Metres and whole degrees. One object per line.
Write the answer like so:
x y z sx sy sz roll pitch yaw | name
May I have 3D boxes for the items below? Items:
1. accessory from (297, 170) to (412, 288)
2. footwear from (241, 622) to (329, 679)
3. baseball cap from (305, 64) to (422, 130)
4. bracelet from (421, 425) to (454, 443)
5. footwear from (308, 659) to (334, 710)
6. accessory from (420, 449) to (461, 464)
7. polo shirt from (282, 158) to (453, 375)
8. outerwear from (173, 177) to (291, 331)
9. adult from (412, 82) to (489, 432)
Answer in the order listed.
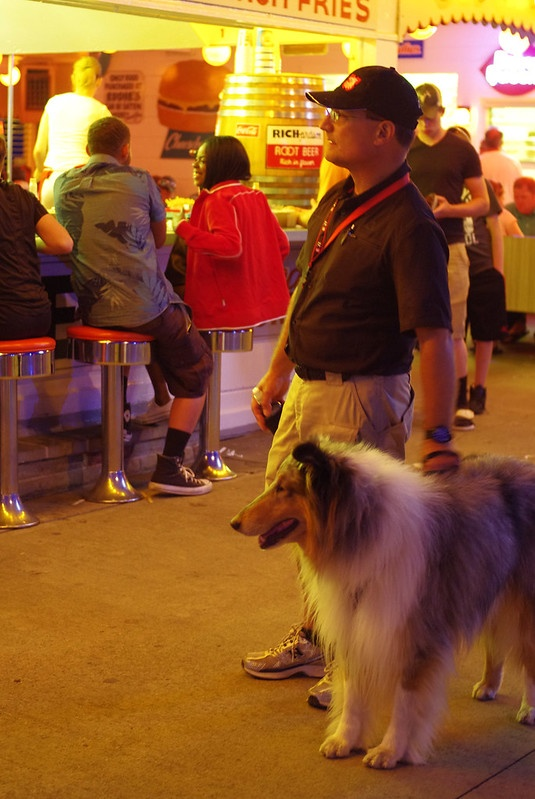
0.218 -0.465 1.748 0.280 0.069 0.261 6 -19 -1 | accessory
0.072 0.879 2.322 0.365 0.178 0.125 0 4 -12 | footwear
0.231 -0.749 1.645 0.246 0.133 0.153 19 23 -4 | baseball cap
0.386 0.080 1.484 0.048 0.018 0.036 8 -29 39 | bracelet
0.190 0.891 2.049 0.062 0.080 0.183 -4 -5 23 | footwear
0.395 0.126 1.516 0.053 0.018 0.038 -8 0 -17 | accessory
0.274 -0.307 1.712 0.238 0.500 0.538 -1 3 -25 | polo shirt
-0.223 -1.006 4.607 0.588 0.918 1.096 11 20 22 | outerwear
1.503 -1.282 5.689 0.908 2.780 0.889 -4 -5 17 | adult
